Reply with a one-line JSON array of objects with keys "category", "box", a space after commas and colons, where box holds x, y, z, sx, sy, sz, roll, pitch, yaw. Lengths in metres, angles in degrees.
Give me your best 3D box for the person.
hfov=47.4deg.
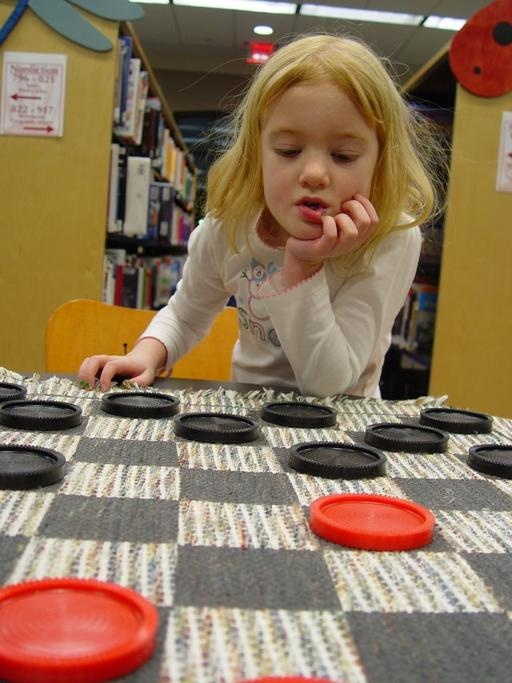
[{"category": "person", "box": [0.012, -0.195, 1.275, 0.704, 0.784, 0.593, -14, 20, -38]}]
